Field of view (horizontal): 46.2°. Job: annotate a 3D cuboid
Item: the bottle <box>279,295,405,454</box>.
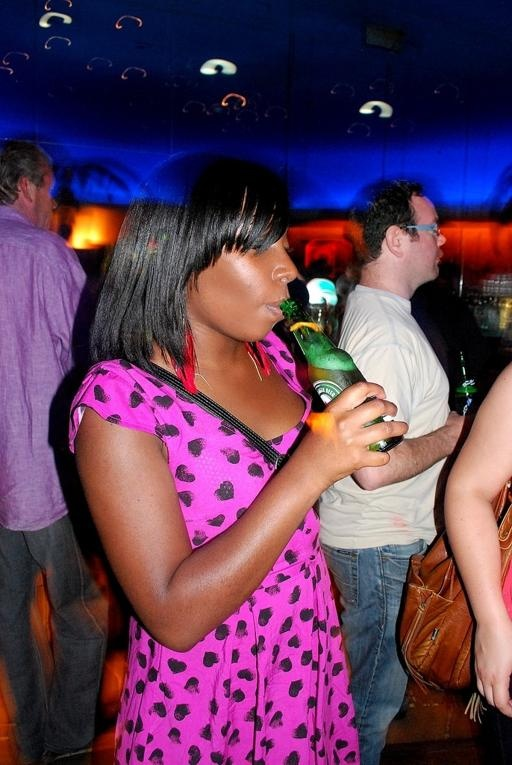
[{"bbox_3d":[0.153,-0.052,1.318,0.169,0.437,0.158,-16,43,15],"label":"bottle"}]
